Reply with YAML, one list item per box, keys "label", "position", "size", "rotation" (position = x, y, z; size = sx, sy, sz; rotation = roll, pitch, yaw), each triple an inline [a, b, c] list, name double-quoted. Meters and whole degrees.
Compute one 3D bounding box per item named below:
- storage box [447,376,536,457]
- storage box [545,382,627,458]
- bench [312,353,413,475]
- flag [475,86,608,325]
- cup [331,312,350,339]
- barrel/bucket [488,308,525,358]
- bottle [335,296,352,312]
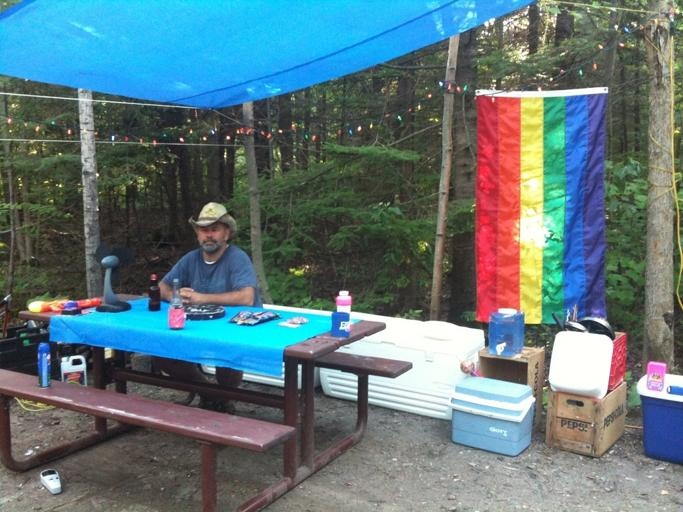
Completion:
- label: "storage box"
  position: [1.408, 1.339, 6.095]
  size: [0.971, 0.546, 0.641]
  rotation: [1, 3, 31]
- label: "storage box"
  position: [2.287, 1.468, 6.105]
  size: [0.516, 0.456, 0.852]
  rotation: [2, 3, 37]
- label: "bench"
  position: [0.226, 1.471, 6.059]
  size: [1.252, 0.652, 0.653]
  rotation: [3, 7, 38]
- label: "flag"
  position: [2.117, -0.521, 7.053]
  size: [1.365, 2.531, 0.490]
  rotation: [1, 9, 12]
- label: "cup"
  position: [-0.002, 0.543, 5.233]
  size: [0.221, 0.177, 0.178]
  rotation: [1, 4, 6]
- label: "barrel/bucket"
  position: [1.554, 0.724, 6.217]
  size: [0.299, 0.410, 0.237]
  rotation: [0, 8, 7]
- label: "bottle"
  position: [0.018, 0.380, 5.296]
  size: [0.153, 0.119, 0.135]
  rotation: [2, 5, 6]
